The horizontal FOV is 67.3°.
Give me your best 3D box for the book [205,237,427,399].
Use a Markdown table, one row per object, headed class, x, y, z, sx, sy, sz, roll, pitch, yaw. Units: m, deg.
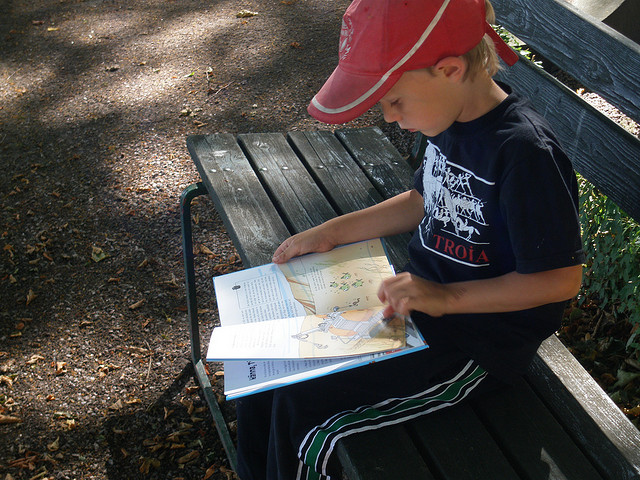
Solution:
| class | x | y | z | sx | sy | sz | roll | pitch | yaw |
| --- | --- | --- | --- | --- | --- | --- | --- | --- | --- |
| book | -0.008 | 0.251 | 1.428 | 0.497 | 0.131 | 0.467 | -11 | 41 | 4 |
